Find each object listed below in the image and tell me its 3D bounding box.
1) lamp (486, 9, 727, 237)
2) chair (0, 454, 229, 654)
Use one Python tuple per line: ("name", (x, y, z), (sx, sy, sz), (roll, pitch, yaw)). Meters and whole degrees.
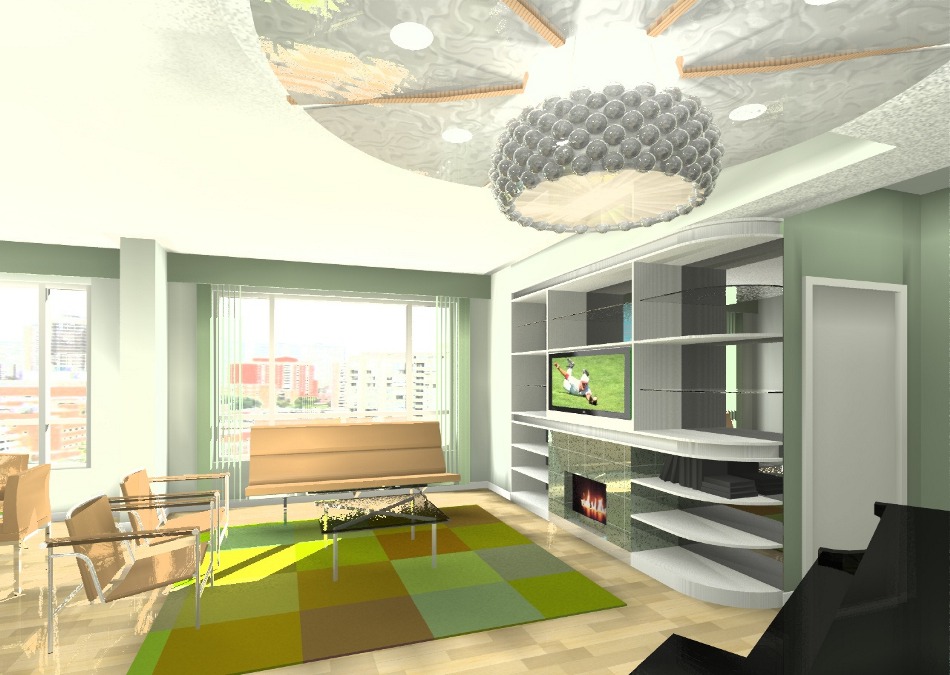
("lamp", (0.591, -0.993, 3.144), (0.882, 0.478, 0.876), (-14, -23, 37))
("chair", (-2.731, 1.562, 4.682), (1.471, 1.027, 1.499), (-3, 6, -27))
